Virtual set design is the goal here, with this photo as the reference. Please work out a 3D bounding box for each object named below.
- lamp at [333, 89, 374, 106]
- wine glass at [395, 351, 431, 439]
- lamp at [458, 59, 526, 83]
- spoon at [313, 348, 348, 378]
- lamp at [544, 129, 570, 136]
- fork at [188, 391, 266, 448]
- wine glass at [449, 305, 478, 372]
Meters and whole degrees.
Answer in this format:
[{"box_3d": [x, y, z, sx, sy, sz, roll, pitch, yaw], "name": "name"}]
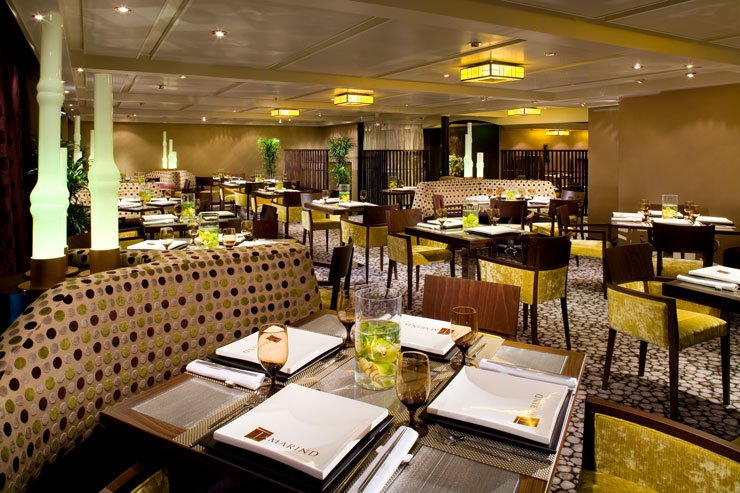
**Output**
[{"box_3d": [-0.378, -3.342, 10.357, 0.844, 0.302, 0.468, -1, 12, -2], "name": "lamp"}, {"box_3d": [0.166, 0.522, 1.742, 0.127, 0.309, 0.178, 0, 11, 6], "name": "wine glass"}, {"box_3d": [1.975, -2.823, 7.466, 0.957, 0.280, 0.522, 3, 12, 16], "name": "lamp"}, {"box_3d": [-0.168, 0.523, 2.087, 0.049, 0.051, 0.152, 15, 24, 31], "name": "spoon"}, {"box_3d": [7.409, -4.432, 18.132, 0.777, 0.200, 1.686, 5, 13, 26], "name": "lamp"}, {"box_3d": [-0.517, 0.641, 1.738, 0.068, 0.056, 0.264, -2, 10, 24], "name": "fork"}, {"box_3d": [0.418, 0.394, 2.086, 0.111, 0.246, 0.174, -2, 11, -5], "name": "wine glass"}]
